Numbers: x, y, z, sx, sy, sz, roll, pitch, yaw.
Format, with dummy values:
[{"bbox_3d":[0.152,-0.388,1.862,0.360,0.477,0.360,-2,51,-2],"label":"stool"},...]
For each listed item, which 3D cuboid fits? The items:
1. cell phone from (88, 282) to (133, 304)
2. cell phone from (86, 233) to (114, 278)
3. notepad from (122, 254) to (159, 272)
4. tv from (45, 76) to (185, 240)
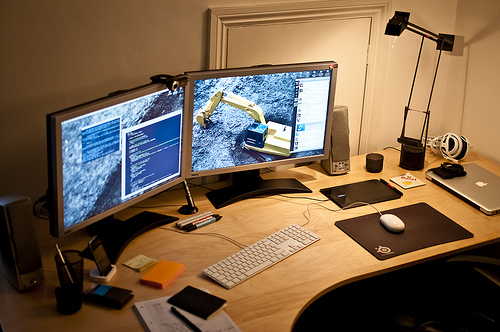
[{"bbox_3d":[-0.538,0.479,1.416,0.154,0.016,0.071,9,25,16],"label":"cell phone"},{"bbox_3d":[-0.615,0.374,1.522,0.025,0.193,0.119,-18,17,11],"label":"cell phone"},{"bbox_3d":[-0.460,0.406,1.561,0.075,0.010,0.068,24,33,35],"label":"notepad"},{"bbox_3d":[-0.578,-0.033,1.574,0.747,0.498,0.077,-22,33,-38],"label":"tv"}]
